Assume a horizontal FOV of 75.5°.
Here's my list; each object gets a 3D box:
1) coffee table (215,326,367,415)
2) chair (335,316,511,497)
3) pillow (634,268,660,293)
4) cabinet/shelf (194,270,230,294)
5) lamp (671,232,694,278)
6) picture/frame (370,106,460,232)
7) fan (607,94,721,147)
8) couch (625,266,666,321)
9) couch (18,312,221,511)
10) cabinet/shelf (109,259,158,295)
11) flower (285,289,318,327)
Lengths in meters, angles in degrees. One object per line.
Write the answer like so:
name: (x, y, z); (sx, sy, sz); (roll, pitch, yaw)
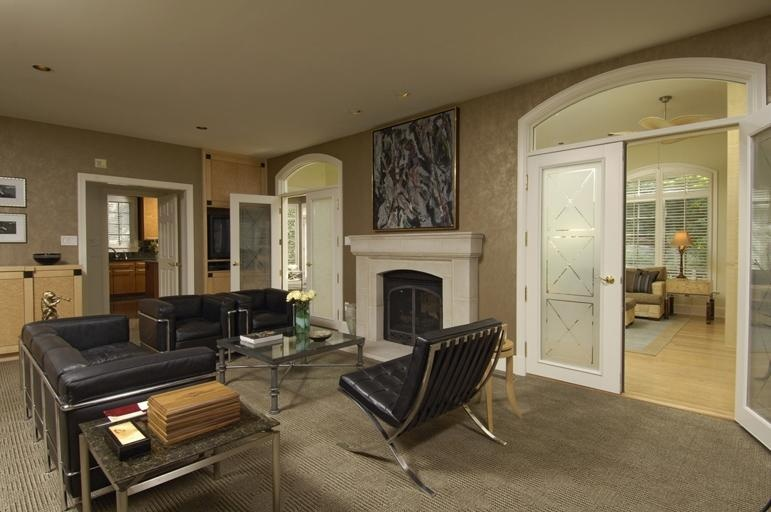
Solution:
coffee table: (-1.119, 1.252, 5.870); (1.359, 0.573, 1.646); (-7, 4, -31)
chair: (0.304, 1.322, 4.876); (1.475, 1.295, 1.481); (1, 1, 44)
pillow: (4.699, 0.445, 9.100); (0.139, 0.414, 0.453); (21, -3, -23)
cabinet/shelf: (-2.913, 0.419, 8.317); (0.191, 0.367, 0.397); (-4, -5, 38)
lamp: (5.426, -0.050, 9.191); (0.284, 0.886, 0.439); (-1, 3, 31)
picture/frame: (0.435, -1.190, 6.627); (0.074, 1.557, 1.720); (1, -2, -44)
fan: (2.945, -1.429, 5.220); (0.585, 0.249, 0.499); (-2, -3, 27)
couch: (4.658, 0.666, 9.239); (0.938, 0.760, 0.873); (-4, 13, 25)
couch: (-2.341, 1.058, 4.526); (1.381, 1.148, 2.642); (-3, 3, -39)
cabinet/shelf: (-5.720, 0.530, 11.568); (1.033, 0.764, 0.540); (-1, -3, 1)
flower: (-1.000, 0.653, 5.881); (0.411, 0.430, 0.416); (-10, -7, 2)
